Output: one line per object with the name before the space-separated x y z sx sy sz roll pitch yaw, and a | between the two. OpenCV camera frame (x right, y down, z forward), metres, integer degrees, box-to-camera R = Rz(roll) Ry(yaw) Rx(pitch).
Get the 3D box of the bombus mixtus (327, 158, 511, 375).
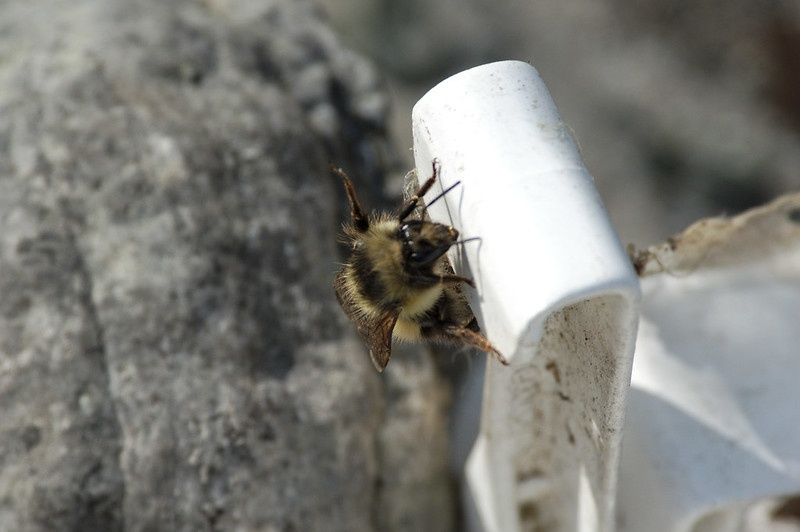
bombus mixtus | 0.011 0.022 2.210 0.246 0.273 0.382 -14 80 -1
